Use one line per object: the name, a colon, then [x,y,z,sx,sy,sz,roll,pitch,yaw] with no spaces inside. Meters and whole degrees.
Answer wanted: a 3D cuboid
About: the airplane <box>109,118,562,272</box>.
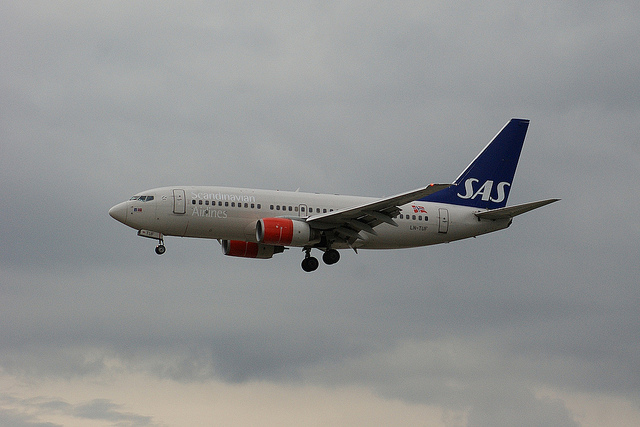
airplane: [1.416,0.220,73.704,14.567,5.696,14.317,4,-10,-11]
